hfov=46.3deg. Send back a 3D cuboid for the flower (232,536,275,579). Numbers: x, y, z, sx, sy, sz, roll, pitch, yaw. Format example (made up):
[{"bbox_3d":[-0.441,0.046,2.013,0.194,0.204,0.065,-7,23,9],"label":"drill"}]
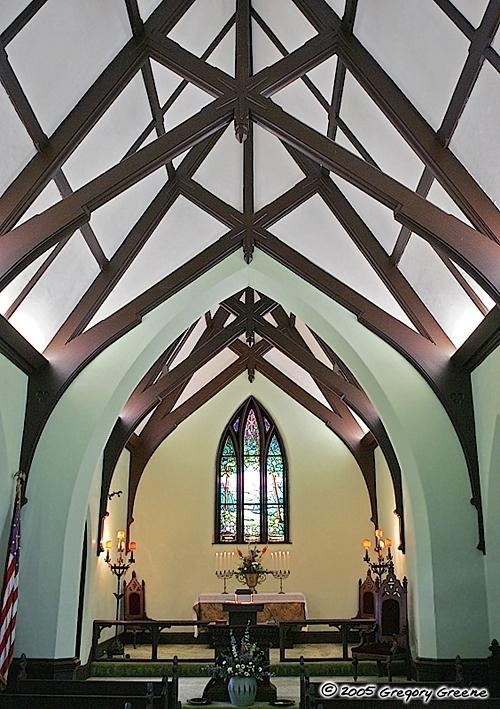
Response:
[{"bbox_3d":[0.063,3.943,11.316,0.688,0.893,0.686,24,-40,-37],"label":"flower"}]

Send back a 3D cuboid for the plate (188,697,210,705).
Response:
[{"bbox_3d":[-0.535,3.674,6.179,0.235,0.052,0.311,0,-27,-6],"label":"plate"}]

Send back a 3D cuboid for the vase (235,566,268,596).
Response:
[{"bbox_3d":[0.049,4.315,11.123,0.585,0.527,0.429,-1,-39,1],"label":"vase"}]

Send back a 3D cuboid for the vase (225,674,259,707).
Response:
[{"bbox_3d":[-0.081,3.444,6.050,0.276,0.334,0.285,-22,-52,11],"label":"vase"}]
